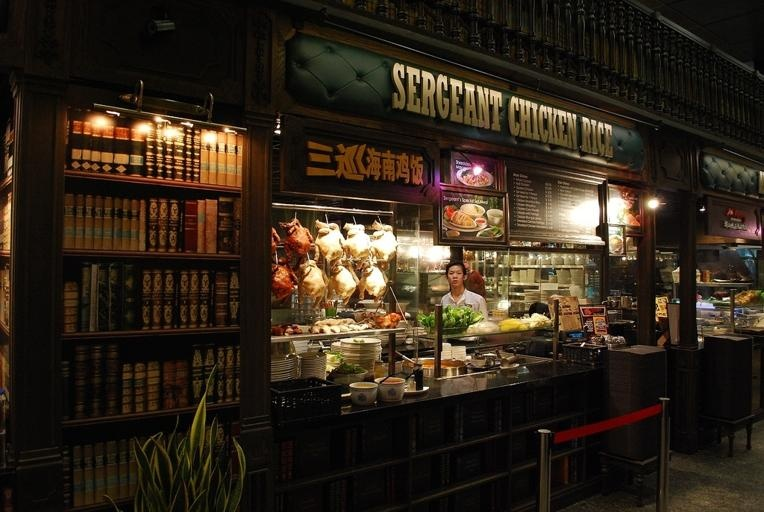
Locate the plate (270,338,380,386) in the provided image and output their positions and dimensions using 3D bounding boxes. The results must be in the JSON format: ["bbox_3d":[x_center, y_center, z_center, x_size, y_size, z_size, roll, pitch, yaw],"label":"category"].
[{"bbox_3d":[-0.432,0.900,5.521,0.770,0.389,1.083,-3,-3,9],"label":"plate"}]

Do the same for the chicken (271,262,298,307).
[{"bbox_3d":[-0.786,0.215,5.051,0.202,0.317,0.268,-3,-3,-9],"label":"chicken"}]

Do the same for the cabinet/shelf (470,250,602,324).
[{"bbox_3d":[2.502,0.328,10.348,1.409,0.943,0.782,-2,-4,34],"label":"cabinet/shelf"}]

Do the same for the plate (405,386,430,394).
[{"bbox_3d":[0.325,1.172,5.425,0.297,0.048,0.108,0,-4,-44],"label":"plate"}]

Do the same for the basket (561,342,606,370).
[{"bbox_3d":[2.106,1.036,6.474,0.438,0.246,0.171,-4,-3,16],"label":"basket"}]

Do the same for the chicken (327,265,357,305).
[{"bbox_3d":[-0.338,0.224,5.325,0.240,0.393,0.241,17,-51,-16],"label":"chicken"}]

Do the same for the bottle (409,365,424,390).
[{"bbox_3d":[0.309,1.067,5.511,0.103,0.191,0.269,-3,-3,-2],"label":"bottle"}]

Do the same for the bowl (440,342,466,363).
[{"bbox_3d":[0.728,0.970,6.282,0.202,0.130,0.205,-1,-3,0],"label":"bowl"}]

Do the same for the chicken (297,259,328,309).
[{"bbox_3d":[-0.559,0.221,5.164,0.284,0.374,0.204,-1,-4,-35],"label":"chicken"}]

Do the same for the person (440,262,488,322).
[{"bbox_3d":[0.961,0.435,7.511,0.669,0.709,0.420,-3,-7,25],"label":"person"}]

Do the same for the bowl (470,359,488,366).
[{"bbox_3d":[0.955,1.059,6.172,0.148,0.063,0.068,-3,-3,7],"label":"bowl"}]

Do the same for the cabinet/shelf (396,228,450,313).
[{"bbox_3d":[0.444,0.098,7.978,0.600,1.020,1.114,-2,17,13],"label":"cabinet/shelf"}]

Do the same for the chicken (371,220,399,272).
[{"bbox_3d":[0.022,-0.100,5.549,0.215,0.431,0.272,-3,-3,2],"label":"chicken"}]

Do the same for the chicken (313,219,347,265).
[{"bbox_3d":[-0.438,-0.117,5.236,0.257,0.359,0.177,-3,-3,-5],"label":"chicken"}]

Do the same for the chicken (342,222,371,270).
[{"bbox_3d":[-0.218,-0.095,5.419,0.292,0.358,0.219,2,-2,26],"label":"chicken"}]

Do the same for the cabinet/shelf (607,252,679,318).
[{"bbox_3d":[4.784,0.493,11.082,0.657,1.041,1.138,10,-10,-42],"label":"cabinet/shelf"}]

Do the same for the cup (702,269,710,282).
[{"bbox_3d":[5.236,0.322,10.082,0.178,0.165,0.095,2,-4,-35],"label":"cup"}]

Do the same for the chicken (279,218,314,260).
[{"bbox_3d":[-0.688,-0.152,5.138,0.249,0.334,0.224,-3,-3,-8],"label":"chicken"}]

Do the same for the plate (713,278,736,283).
[{"bbox_3d":[5.482,0.396,9.953,0.288,0.065,0.259,0,-1,1],"label":"plate"}]

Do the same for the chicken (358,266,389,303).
[{"bbox_3d":[-0.080,0.229,5.470,0.261,0.318,0.223,-3,-3,-3],"label":"chicken"}]
